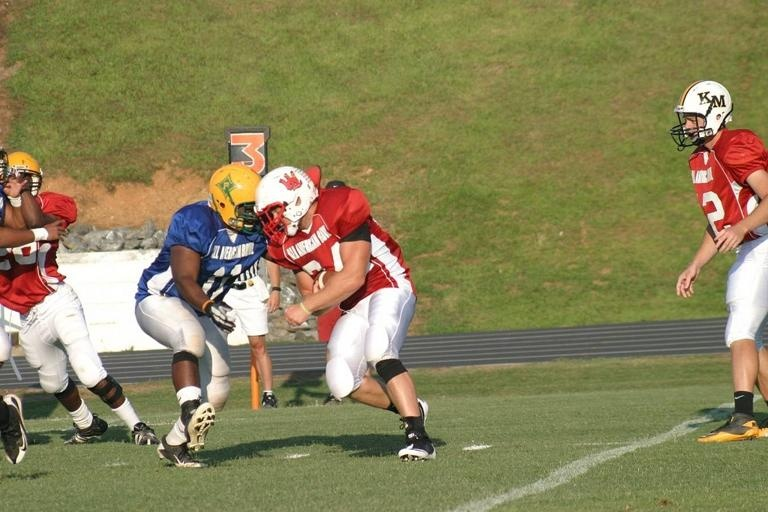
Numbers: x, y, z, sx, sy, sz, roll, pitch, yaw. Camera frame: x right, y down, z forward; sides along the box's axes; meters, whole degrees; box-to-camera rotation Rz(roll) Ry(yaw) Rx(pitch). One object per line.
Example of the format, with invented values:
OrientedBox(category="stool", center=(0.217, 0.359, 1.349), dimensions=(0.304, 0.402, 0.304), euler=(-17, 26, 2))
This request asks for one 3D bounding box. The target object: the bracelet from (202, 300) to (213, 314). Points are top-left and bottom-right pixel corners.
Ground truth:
OrientedBox(category="bracelet", center=(-3.332, 1.003, 28.800), dimensions=(0.152, 0.196, 0.206), euler=(11, 27, 26))

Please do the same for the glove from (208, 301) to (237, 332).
OrientedBox(category="glove", center=(-3.070, 1.192, 28.791), dimensions=(0.512, 0.545, 0.228), euler=(-5, 15, -8))

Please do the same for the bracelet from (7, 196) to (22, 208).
OrientedBox(category="bracelet", center=(-7.201, -1.024, 29.904), dimensions=(0.214, 0.199, 0.192), euler=(-27, 22, 29))

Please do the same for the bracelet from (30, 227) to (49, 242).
OrientedBox(category="bracelet", center=(-6.714, -0.382, 29.785), dimensions=(0.314, 0.276, 0.132), euler=(-3, 2, -12))

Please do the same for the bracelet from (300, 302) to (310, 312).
OrientedBox(category="bracelet", center=(-1.504, 1.013, 28.723), dimensions=(0.195, 0.202, 0.111), euler=(4, 16, 26))

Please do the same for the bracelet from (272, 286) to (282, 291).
OrientedBox(category="bracelet", center=(-2.302, 0.732, 32.691), dimensions=(0.223, 0.105, 0.282), euler=(0, 0, 2))
